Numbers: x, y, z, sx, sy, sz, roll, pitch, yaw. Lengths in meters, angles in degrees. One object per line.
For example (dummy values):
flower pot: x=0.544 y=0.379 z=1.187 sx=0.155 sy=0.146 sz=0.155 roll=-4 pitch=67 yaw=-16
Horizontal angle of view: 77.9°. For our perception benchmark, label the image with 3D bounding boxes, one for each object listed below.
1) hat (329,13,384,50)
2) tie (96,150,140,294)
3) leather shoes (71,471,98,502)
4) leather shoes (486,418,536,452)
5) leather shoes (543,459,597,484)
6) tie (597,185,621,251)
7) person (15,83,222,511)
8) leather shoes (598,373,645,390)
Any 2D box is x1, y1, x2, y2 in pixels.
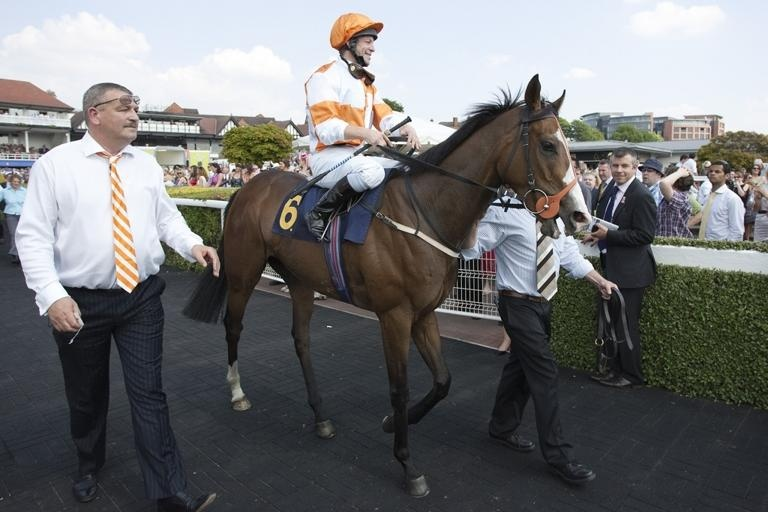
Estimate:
hat: x=-0.234 y=-1.757 z=3.724 sx=0.437 sy=0.218 sz=0.328 roll=-5 pitch=18 yaw=24
tie: x=-1.675 y=-0.215 z=3.027 sx=0.271 sy=0.853 sz=0.046 roll=-5 pitch=-9 yaw=-23
leather shoes: x=-2.090 y=1.616 z=3.332 sx=0.126 sy=0.088 sz=0.208 roll=3 pitch=17 yaw=-38
leather shoes: x=1.020 y=1.442 z=3.963 sx=0.424 sy=0.207 sz=0.158 roll=6 pitch=11 yaw=32
leather shoes: x=1.349 y=1.549 z=3.480 sx=0.305 sy=0.121 sz=0.167 roll=4 pitch=10 yaw=44
tie: x=2.374 y=-0.522 z=5.063 sx=0.207 sy=0.919 sz=0.280 roll=5 pitch=-14 yaw=19
person: x=-1.744 y=0.324 z=3.103 sx=1.025 sy=2.783 sz=0.927 roll=-4 pitch=13 yaw=-15
leather shoes: x=2.351 y=1.269 z=4.840 sx=0.309 sy=0.043 sz=0.112 roll=6 pitch=49 yaw=17
